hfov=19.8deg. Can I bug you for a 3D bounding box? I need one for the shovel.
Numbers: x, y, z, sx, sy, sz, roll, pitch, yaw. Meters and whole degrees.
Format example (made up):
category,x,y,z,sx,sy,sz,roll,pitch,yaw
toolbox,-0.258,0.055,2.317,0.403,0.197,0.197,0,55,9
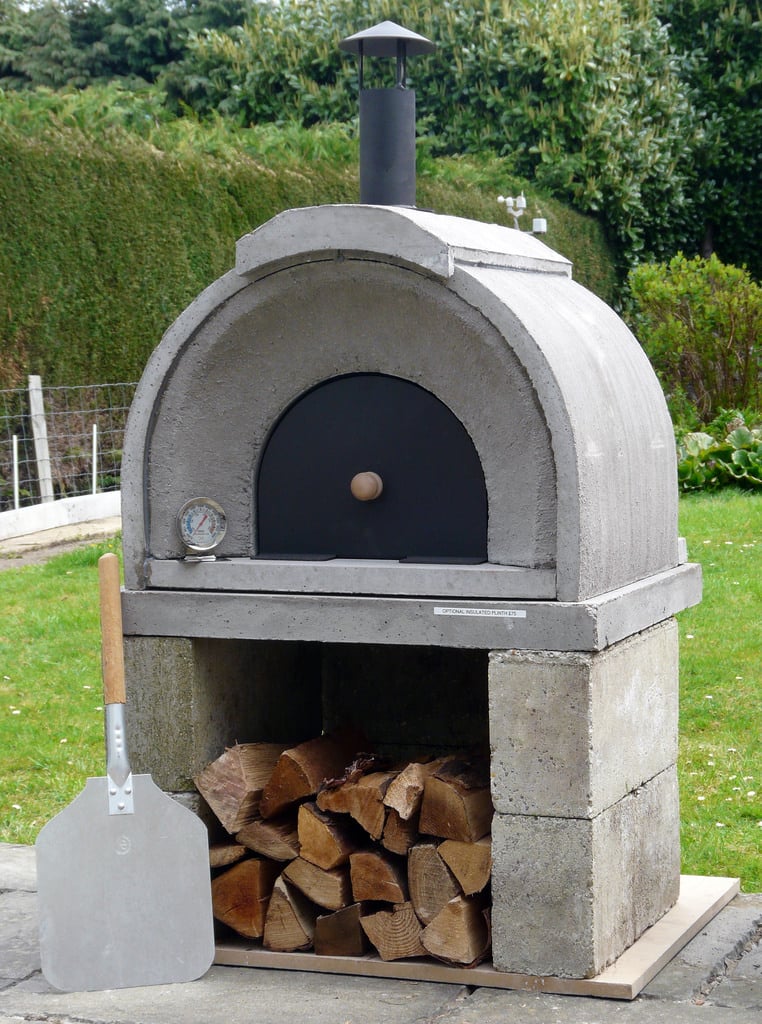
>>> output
category,x,y,z,sx,sy,sz,roll,pitch,yaw
shovel,-0.872,0.852,7.319,0.578,1.374,0.397,-2,10,-7
